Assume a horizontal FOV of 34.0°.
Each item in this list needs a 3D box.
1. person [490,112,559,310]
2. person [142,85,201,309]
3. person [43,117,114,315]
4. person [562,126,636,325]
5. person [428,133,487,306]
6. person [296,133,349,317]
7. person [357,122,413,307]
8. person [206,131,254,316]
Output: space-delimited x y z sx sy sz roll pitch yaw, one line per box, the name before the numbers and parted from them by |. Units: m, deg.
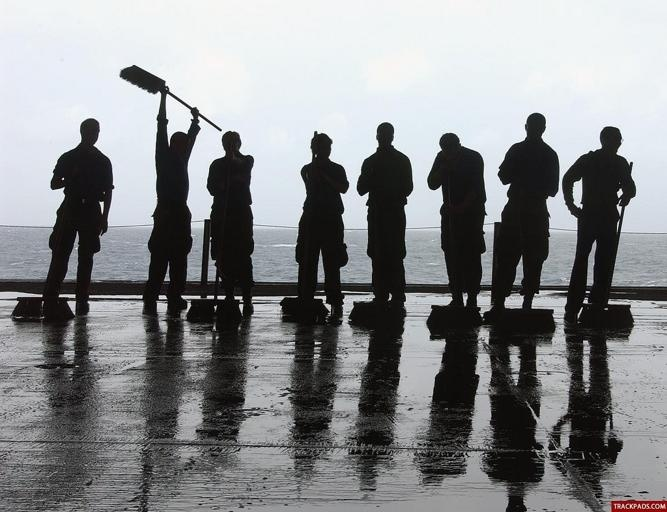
person | 1.737 -0.407 9.746 0.542 1.726 0.638 2 8 9
person | -1.536 -0.517 10.369 0.526 2.126 0.765 0 8 -5
person | -2.479 -0.417 10.366 0.518 1.762 0.820 4 8 23
person | 2.378 -0.296 9.748 0.639 1.713 0.517 1 8 6
person | 1.112 -0.307 9.734 0.668 1.565 0.529 6 9 34
person | -0.100 -0.293 10.223 0.482 1.737 0.841 1 8 -1
person | 0.464 -0.383 9.867 0.491 1.640 0.476 2 8 8
person | -0.951 -0.302 10.152 0.438 1.703 0.750 0 8 -6
